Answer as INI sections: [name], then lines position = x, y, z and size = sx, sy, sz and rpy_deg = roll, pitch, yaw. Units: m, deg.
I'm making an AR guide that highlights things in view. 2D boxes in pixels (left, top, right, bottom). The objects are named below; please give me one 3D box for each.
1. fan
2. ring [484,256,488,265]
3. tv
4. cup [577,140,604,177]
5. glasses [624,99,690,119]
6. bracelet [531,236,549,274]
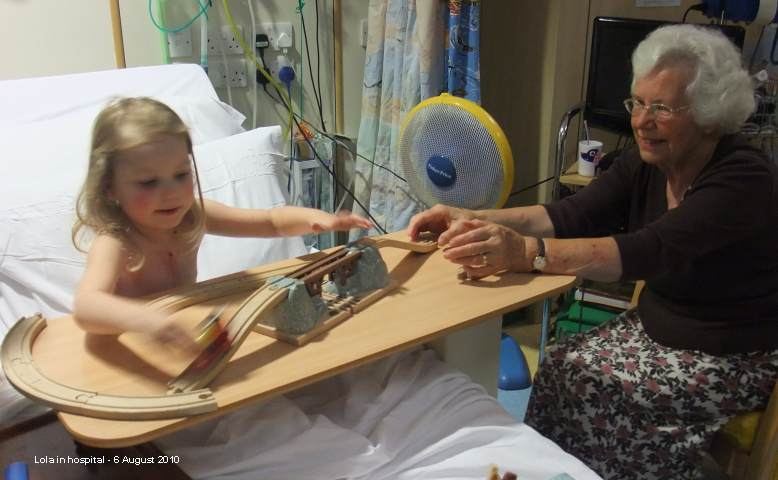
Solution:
[fan]
position = 0.224, -0.282, 1.996
size = 0.423, 0.478, 0.206
rpy_deg = 6, 40, 31
[ring]
position = 0.277, 0.057, 1.687
size = 0.006, 0.019, 0.019
rpy_deg = -1, 21, 21
[tv]
position = 1.046, -0.665, 2.422
size = 0.070, 0.479, 0.541
rpy_deg = -17, 30, -22
[cup]
position = 0.870, -0.366, 2.554
size = 0.097, 0.147, 0.149
rpy_deg = 0, 26, 7
[glasses]
position = 0.821, -0.401, 1.797
size = 0.156, 0.043, 0.048
rpy_deg = 16, 33, 35
[bracelet]
position = 0.447, 0.061, 1.729
size = 0.037, 0.065, 0.062
rpy_deg = 11, 16, 16
